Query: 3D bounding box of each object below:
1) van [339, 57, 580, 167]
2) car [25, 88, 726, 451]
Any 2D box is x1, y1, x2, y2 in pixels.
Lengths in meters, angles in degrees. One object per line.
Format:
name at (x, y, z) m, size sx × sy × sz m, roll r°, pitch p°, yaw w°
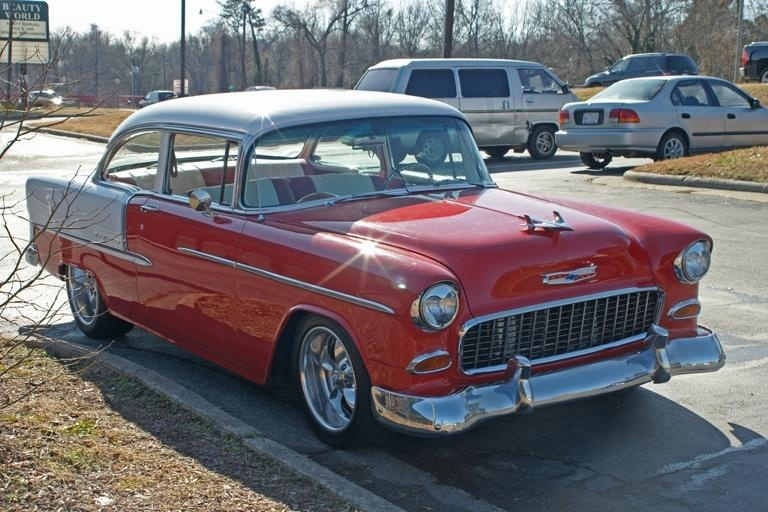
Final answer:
van at (2.621, -4.214, 17.475) m, size 7.406 × 2.279 × 3.197 m, roll -3°, pitch 11°, yaw -19°
car at (-0.840, -0.189, 5.300) m, size 5.259 × 1.449 × 3.086 m, roll 11°, pitch 16°, yaw 42°
